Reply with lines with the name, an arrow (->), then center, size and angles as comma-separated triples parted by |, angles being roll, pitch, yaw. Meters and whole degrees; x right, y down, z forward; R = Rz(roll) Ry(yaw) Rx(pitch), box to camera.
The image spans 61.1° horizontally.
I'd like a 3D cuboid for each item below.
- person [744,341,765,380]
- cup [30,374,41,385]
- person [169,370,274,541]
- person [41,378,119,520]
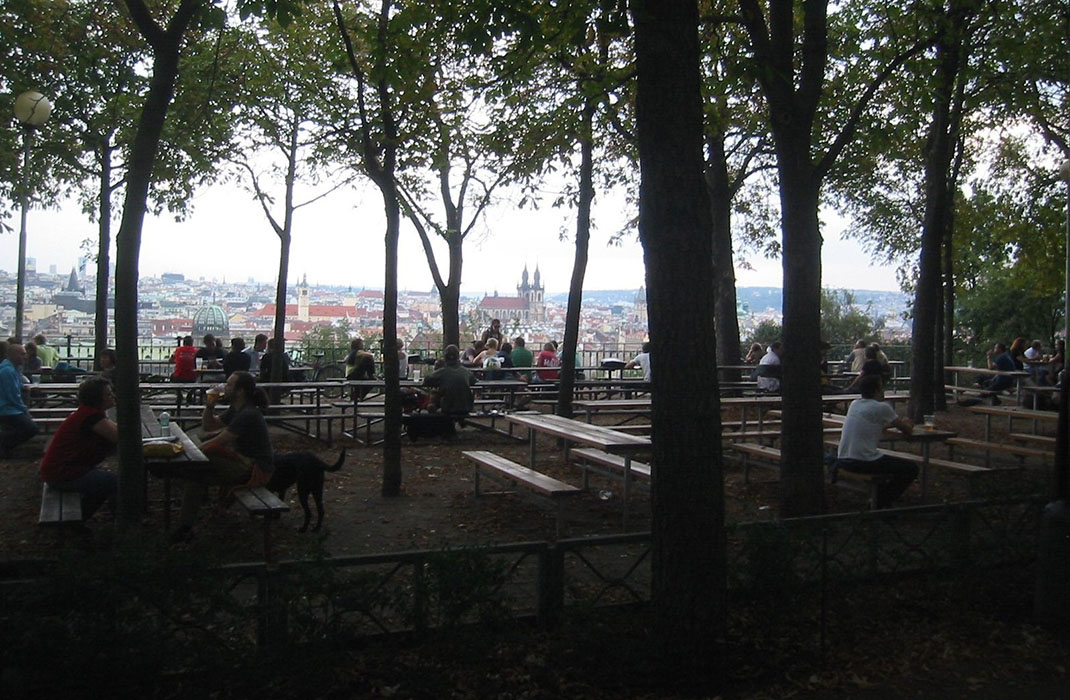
person -> 5.979, 0.303, 24.818 | 0.382, 0.969, 0.327 | 12, 2, -10
cup -> -10.141, 0.599, 18.398 | 0.160, 0.148, 0.111 | 3, 11, -13
person -> -3.588, 1.175, 10.518 | 1.021, 1.798, 1.232 | 0, 9, -21
person -> -5.188, 1.134, 10.345 | 0.774, 1.567, 0.556 | -1, 9, -27
